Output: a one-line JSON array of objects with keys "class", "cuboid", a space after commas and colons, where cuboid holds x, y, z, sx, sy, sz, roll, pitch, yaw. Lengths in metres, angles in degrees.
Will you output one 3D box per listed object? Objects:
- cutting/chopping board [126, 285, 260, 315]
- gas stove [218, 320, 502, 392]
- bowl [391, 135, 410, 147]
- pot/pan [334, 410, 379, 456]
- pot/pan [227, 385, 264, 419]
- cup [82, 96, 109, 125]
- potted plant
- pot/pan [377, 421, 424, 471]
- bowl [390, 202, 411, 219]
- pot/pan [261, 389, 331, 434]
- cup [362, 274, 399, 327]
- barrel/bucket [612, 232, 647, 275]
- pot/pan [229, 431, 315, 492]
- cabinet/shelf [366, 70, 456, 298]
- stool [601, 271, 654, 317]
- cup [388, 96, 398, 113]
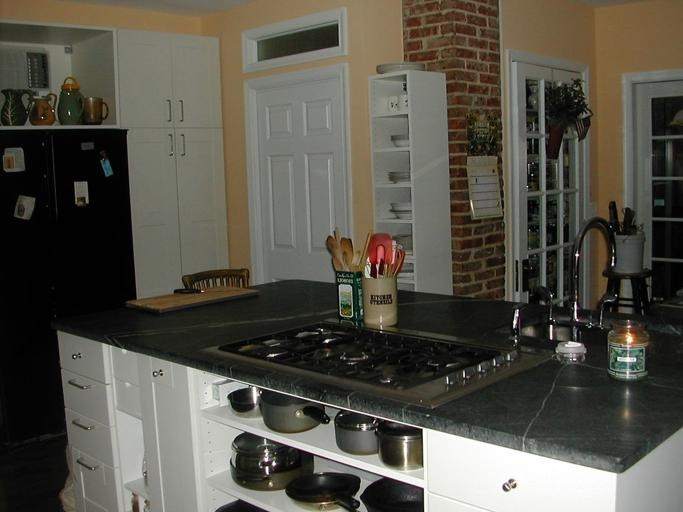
[{"class": "cutting/chopping board", "cuboid": [-0.748, 0.215, 2.841, 0.644, 0.048, 0.275, -9, 11, -32]}, {"class": "gas stove", "cuboid": [0.054, 0.326, 1.907, 0.928, 0.026, 0.448, 4, 12, 35]}, {"class": "bowl", "cuboid": [0.393, -0.782, 3.719, 0.106, 0.067, 0.112, -1, 4, 0]}, {"class": "pot/pan", "cuboid": [0.042, 0.552, 1.709, 0.120, 0.084, 0.126, 2, 8, 23]}, {"class": "pot/pan", "cuboid": [-0.337, 0.513, 2.011, 0.096, 0.055, 0.131, 2, 6, 14]}, {"class": "cup", "cuboid": [-1.932, -1.149, 4.388, 0.141, 0.219, 0.302, -2, 9, 4]}, {"class": "potted plant", "cuboid": [1.799, -1.128, 4.643, 0.369, 0.624, 0.385, 11, 9, 15]}, {"class": "pot/pan", "cuboid": [0.151, 0.547, 1.643, 0.105, 0.105, 0.104, -5, -8, -31]}, {"class": "bowl", "cuboid": [0.399, -0.311, 3.769, 0.118, 0.066, 0.124, -1, -1, 0]}, {"class": "pot/pan", "cuboid": [-0.189, 0.527, 1.887, 0.218, 0.151, 0.117, -2, 9, 4]}, {"class": "cup", "cuboid": [0.164, 0.188, 2.343, 0.165, 0.209, 0.176, -3, -1, 0]}, {"class": "barrel/bucket", "cuboid": [2.185, -0.027, 4.240, 0.304, 0.359, 0.318, -1, 2, 0]}, {"class": "pot/pan", "cuboid": [-0.271, 0.745, 2.011, 0.188, 0.107, 0.230, 3, 7, 23]}, {"class": "cabinet/shelf", "cuboid": [0.458, -0.485, 3.807, 0.502, 1.499, 0.430, 5, 11, 43]}, {"class": "stool", "cuboid": [2.343, 0.354, 4.588, 0.364, 0.459, 0.356, -6, 6, -35]}, {"class": "cup", "cuboid": [0.326, -1.008, 3.660, 0.041, 0.099, 0.088, -9, 11, -36]}]
